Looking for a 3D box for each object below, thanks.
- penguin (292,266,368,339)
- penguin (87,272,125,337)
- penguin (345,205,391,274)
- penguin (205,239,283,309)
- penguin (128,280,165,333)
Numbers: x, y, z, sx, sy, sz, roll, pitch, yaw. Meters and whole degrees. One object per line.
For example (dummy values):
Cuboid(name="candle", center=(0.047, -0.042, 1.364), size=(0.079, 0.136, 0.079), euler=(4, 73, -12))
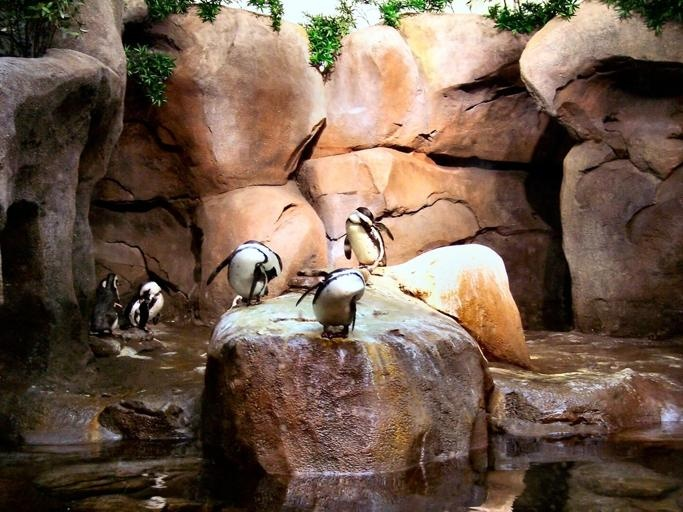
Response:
Cuboid(name="penguin", center=(-0.080, 0.430, 9.573), size=(0.529, 0.647, 0.644), euler=(2, -6, -3))
Cuboid(name="penguin", center=(-2.941, 0.599, 12.738), size=(0.343, 0.782, 0.445), euler=(3, -6, -12))
Cuboid(name="penguin", center=(0.270, -0.222, 12.192), size=(0.458, 0.651, 0.622), euler=(-2, -6, 27))
Cuboid(name="penguin", center=(-0.978, 0.174, 10.656), size=(0.608, 0.663, 0.444), euler=(-2, -7, 29))
Cuboid(name="penguin", center=(-2.590, 0.673, 13.451), size=(0.450, 0.620, 0.408), euler=(-5, 10, -34))
